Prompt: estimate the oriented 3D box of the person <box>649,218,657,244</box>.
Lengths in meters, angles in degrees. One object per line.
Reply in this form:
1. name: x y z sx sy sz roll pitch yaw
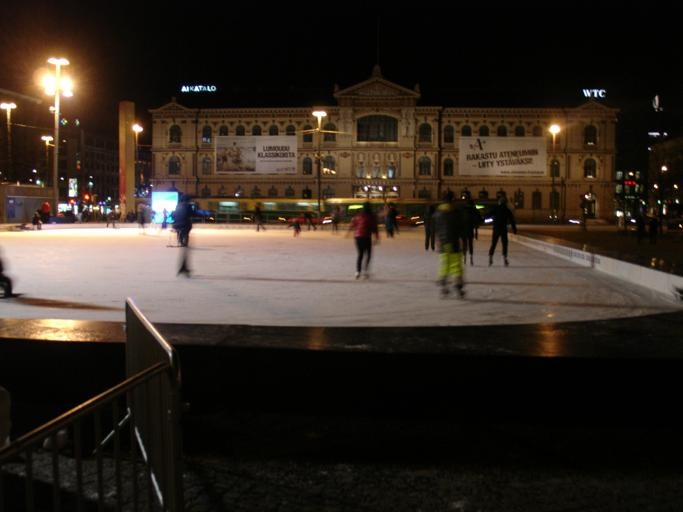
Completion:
1. person: 13.102 -1.116 29.074 0.244 1.020 1.805 3 4 24
